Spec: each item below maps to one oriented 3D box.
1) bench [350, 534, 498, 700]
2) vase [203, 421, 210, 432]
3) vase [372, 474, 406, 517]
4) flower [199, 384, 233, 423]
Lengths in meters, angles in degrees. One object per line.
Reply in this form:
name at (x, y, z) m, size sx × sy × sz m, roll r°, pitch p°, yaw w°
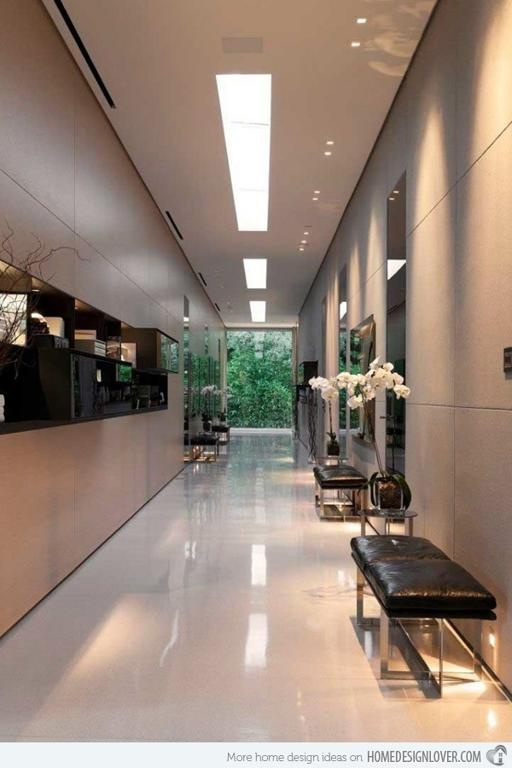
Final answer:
bench at (0.824, 1.100, 2.472) m, size 0.562 × 0.543 × 0.931 m, roll 0°, pitch -5°, yaw 3°
vase at (-1.227, 1.049, 12.870) m, size 0.206 × 0.271 × 0.227 m, roll 1°, pitch -3°, yaw -9°
vase at (0.875, 0.722, 3.421) m, size 0.241 × 0.253 × 0.180 m, roll -2°, pitch -5°, yaw 24°
flower at (-1.362, 0.663, 17.708) m, size 0.406 × 1.851 × 1.657 m, roll -2°, pitch -2°, yaw 13°
